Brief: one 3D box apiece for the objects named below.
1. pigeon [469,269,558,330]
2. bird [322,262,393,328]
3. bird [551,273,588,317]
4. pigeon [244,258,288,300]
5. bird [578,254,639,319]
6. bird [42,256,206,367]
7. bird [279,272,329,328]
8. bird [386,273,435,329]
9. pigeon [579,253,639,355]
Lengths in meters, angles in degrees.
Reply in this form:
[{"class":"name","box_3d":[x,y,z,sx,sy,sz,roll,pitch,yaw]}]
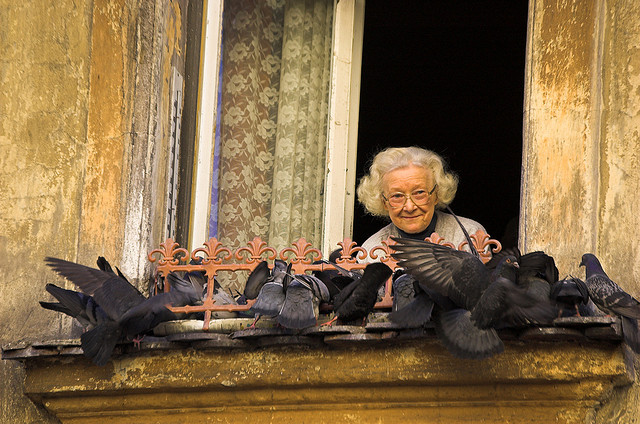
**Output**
[{"class":"pigeon","box_3d":[1.022,0.487,7.903,0.315,0.155,0.291,12,10,39]},{"class":"bird","box_3d":[0.195,0.449,8.121,0.341,0.379,0.187,-5,-40,5]},{"class":"bird","box_3d":[1.298,0.442,8.015,0.186,0.272,0.146,-1,21,5]},{"class":"pigeon","box_3d":[-0.295,0.360,8.188,0.172,0.161,0.218,30,29,30]},{"class":"bird","box_3d":[1.468,0.388,7.930,0.189,0.324,0.397,0,-3,-29]},{"class":"bird","box_3d":[-1.076,0.459,8.268,0.628,0.416,0.662,31,-10,7]},{"class":"bird","box_3d":[-0.074,0.471,8.076,0.278,0.262,0.140,0,-2,-34]},{"class":"bird","box_3d":[0.485,0.494,8.125,0.205,0.279,0.282,-25,-17,4]},{"class":"pigeon","box_3d":[1.502,0.474,7.943,0.312,0.499,0.230,-2,-2,18]}]
